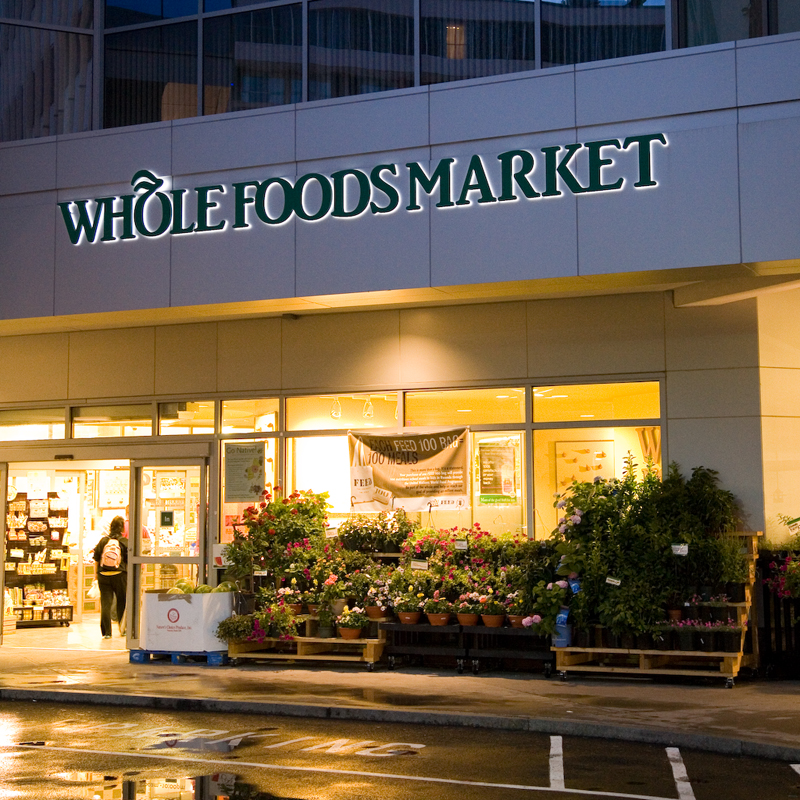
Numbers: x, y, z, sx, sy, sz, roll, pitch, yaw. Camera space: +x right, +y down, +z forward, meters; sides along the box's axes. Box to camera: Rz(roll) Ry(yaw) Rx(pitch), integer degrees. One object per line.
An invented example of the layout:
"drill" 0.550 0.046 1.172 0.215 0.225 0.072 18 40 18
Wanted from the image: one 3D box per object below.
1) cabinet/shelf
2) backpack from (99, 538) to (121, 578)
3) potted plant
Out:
"cabinet/shelf" 2.878 2.263 12.241 1.931 1.553 1.164 -3 -6 23
"backpack" -4.735 2.508 18.078 0.332 0.590 0.299 0 -5 -8
"potted plant" 2.827 1.758 12.611 2.124 2.638 1.861 -3 -7 34
